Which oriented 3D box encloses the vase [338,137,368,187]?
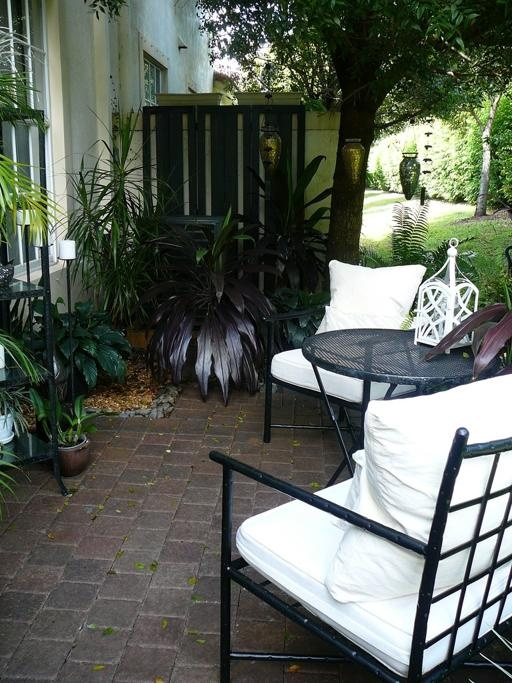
[{"bbox_3d":[0.743,-1.362,3.928,0.161,0.324,0.438,2,12,11],"label":"vase"}]

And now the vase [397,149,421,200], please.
[{"bbox_3d":[1.497,-1.630,5.038,0.174,0.436,0.356,3,12,15],"label":"vase"}]

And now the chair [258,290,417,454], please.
[{"bbox_3d":[0.356,0.121,3.171,0.882,1.024,0.835,11,12,35],"label":"chair"}]
